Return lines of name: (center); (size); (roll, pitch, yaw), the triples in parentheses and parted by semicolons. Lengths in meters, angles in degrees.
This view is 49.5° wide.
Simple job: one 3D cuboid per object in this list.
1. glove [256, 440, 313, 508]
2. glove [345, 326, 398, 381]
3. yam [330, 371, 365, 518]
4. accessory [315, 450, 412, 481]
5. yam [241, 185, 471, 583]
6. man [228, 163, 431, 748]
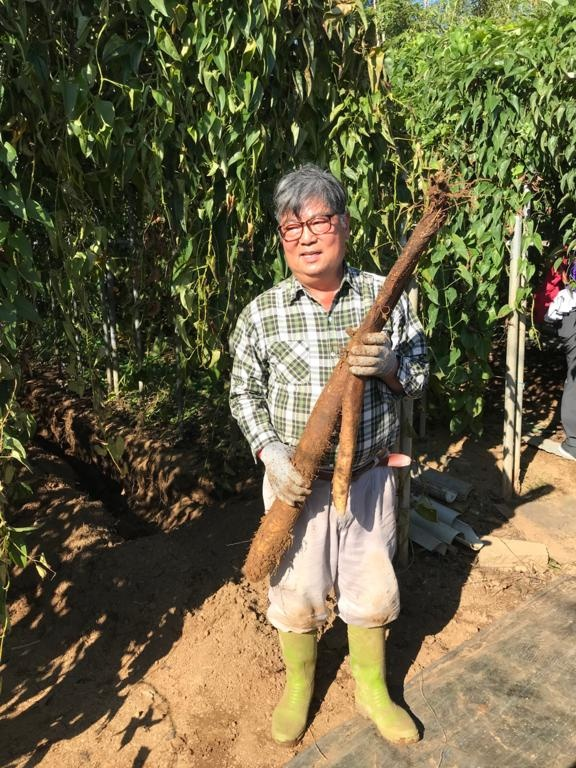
glove: (-0.011, 0.253, 1.790); (0.082, 0.113, 0.189); (-42, 30, 9)
glove: (0.221, -0.075, 1.667); (0.090, 0.076, 0.160); (12, 10, -6)
yam: (0.160, 0.152, 1.687); (0.063, 0.435, 0.063); (9, 2, 12)
accessory: (0.227, 0.257, 1.943); (0.214, 0.055, 0.127); (-7, 2, -9)
yam: (0.135, 0.061, 1.711); (0.166, 1.323, 0.399); (24, 13, 6)
man: (0.162, 0.264, 1.972); (0.627, 1.793, 0.548); (-4, 7, -15)
